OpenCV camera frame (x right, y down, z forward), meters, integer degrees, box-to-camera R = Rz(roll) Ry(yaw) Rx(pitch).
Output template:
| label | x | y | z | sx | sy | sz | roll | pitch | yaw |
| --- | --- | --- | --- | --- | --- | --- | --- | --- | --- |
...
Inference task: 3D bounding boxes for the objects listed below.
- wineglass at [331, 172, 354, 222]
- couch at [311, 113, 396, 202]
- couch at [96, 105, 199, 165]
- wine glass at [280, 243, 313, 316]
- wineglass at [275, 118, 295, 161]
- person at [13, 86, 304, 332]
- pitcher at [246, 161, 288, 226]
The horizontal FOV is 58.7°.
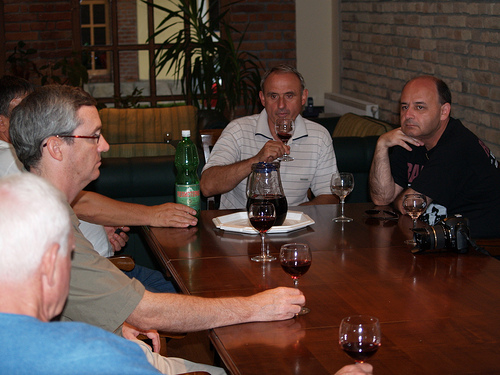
| label | x | y | z | sx | sy | sz | roll | pitch | yaw |
| --- | --- | --- | --- | --- | --- | --- | --- | --- | --- |
| wineglass | 0.458 | 0.046 | 2.197 | 0.114 | 0.227 | 0.115 | 0 | 1 | -1 |
| couch | 0.721 | -0.198 | 3.055 | 0.441 | 0.505 | 0.749 | -1 | 11 | -5 |
| couch | -0.914 | -0.472 | 3.924 | 0.852 | 0.562 | 0.481 | 0 | 2 | -7 |
| wine glass | 0.146 | 0.260 | 1.397 | 0.100 | 0.170 | 0.257 | 1 | 15 | 6 |
| wineglass | 0.214 | -0.290 | 2.687 | 0.114 | 0.263 | 0.201 | 0 | 15 | 4 |
| person | -0.346 | 0.154 | 1.589 | 0.967 | 1.035 | 0.440 | -3 | 32 | -24 |
| pitcher | 0.076 | 0.019 | 1.941 | 0.244 | 0.334 | 0.228 | 0 | 12 | 4 |
